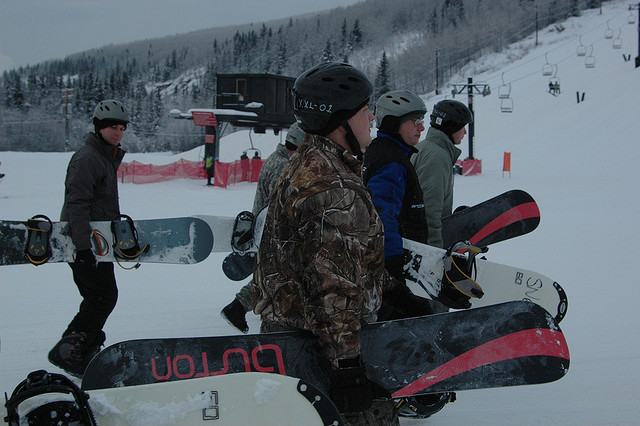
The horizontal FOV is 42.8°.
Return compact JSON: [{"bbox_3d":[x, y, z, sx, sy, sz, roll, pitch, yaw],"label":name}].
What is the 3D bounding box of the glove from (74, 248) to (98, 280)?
[{"bbox_3d":[-6.879,1.258,23.872,0.532,0.324,0.396,-23,-9,-43],"label":"glove"}]
